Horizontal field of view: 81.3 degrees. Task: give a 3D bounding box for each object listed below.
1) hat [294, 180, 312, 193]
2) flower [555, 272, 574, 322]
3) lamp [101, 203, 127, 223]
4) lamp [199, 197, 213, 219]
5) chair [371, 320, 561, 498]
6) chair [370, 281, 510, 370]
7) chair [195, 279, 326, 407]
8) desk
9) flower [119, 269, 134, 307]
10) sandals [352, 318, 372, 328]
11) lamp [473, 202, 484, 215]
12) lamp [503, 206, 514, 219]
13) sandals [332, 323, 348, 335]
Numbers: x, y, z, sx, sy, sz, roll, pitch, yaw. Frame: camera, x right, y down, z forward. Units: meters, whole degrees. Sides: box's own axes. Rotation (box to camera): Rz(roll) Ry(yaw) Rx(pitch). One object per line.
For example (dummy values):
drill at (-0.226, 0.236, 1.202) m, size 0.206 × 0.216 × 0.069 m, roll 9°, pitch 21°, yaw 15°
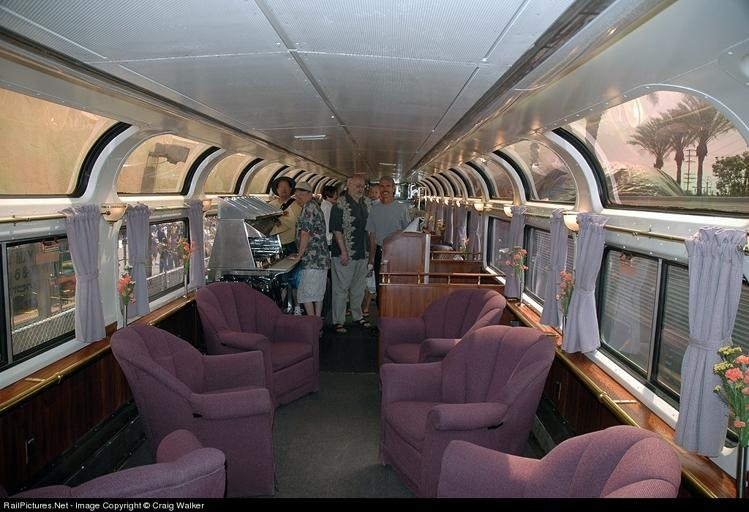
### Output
hat at (-1.018, -1.020, 6.465) m, size 0.175 × 0.147 × 0.257 m, roll 9°, pitch 24°, yaw 15°
flower at (2.135, 0.473, 4.938) m, size 0.156 × 0.617 × 0.622 m, roll 2°, pitch 8°, yaw 22°
lamp at (-2.886, -0.472, 4.899) m, size 0.206 × 0.153 × 0.199 m, roll 0°, pitch -2°, yaw -12°
lamp at (-2.659, -0.785, 7.097) m, size 0.252 × 0.301 × 0.279 m, roll -10°, pitch 17°, yaw -35°
chair at (0.871, 1.358, 4.416) m, size 1.536 × 1.637 × 1.448 m, roll 6°, pitch -1°, yaw -18°
chair at (0.737, 0.958, 5.309) m, size 1.194 × 1.270 × 1.114 m, roll 3°, pitch 4°, yaw -12°
chair at (-1.476, 1.049, 5.859) m, size 1.475 × 1.624 × 1.431 m, roll -2°, pitch 5°, yaw 31°
desk at (-1.758, 0.329, 6.940) m, size 1.103 × 1.097 × 1.149 m, roll 4°, pitch 13°, yaw 3°
flower at (-2.897, 0.362, 5.190) m, size 0.169 × 0.440 × 0.424 m, roll -4°, pitch 9°, yaw -29°
sandals at (-0.203, 1.124, 7.263) m, size 0.352 × 0.098 × 0.131 m, roll -1°, pitch 1°, yaw 43°
lamp at (2.136, -0.995, 9.051) m, size 0.229 × 0.175 × 0.209 m, roll 3°, pitch 6°, yaw 31°
lamp at (2.090, -0.701, 6.879) m, size 0.169 × 0.234 × 0.209 m, roll -2°, pitch 1°, yaw 15°
sandals at (-0.542, 1.172, 6.969) m, size 0.150 × 0.105 × 0.410 m, roll 0°, pitch -1°, yaw -7°
